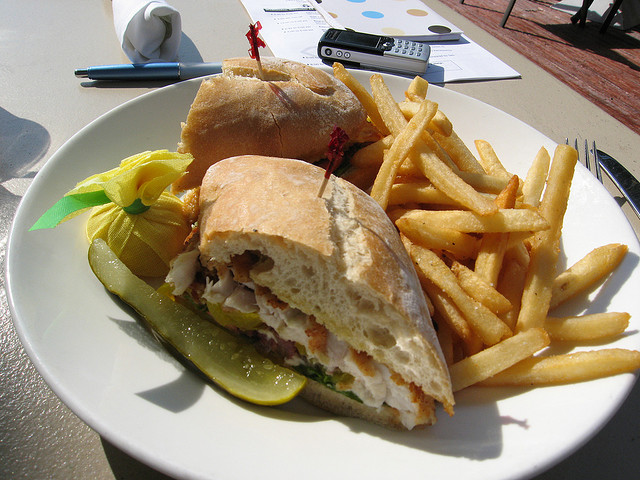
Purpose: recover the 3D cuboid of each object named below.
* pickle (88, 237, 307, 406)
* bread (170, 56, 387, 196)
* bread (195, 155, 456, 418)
[{"bbox_3d":[-0.644,0.376,2.399,1.285,0.182,0.295,30,28,16],"label":"pickle"},{"bbox_3d":[-0.230,-0.591,2.853,0.942,0.307,0.688,-4,49,-14],"label":"bread"},{"bbox_3d":[0.061,0.081,2.397,1.427,0.512,0.626,26,51,15],"label":"bread"}]
